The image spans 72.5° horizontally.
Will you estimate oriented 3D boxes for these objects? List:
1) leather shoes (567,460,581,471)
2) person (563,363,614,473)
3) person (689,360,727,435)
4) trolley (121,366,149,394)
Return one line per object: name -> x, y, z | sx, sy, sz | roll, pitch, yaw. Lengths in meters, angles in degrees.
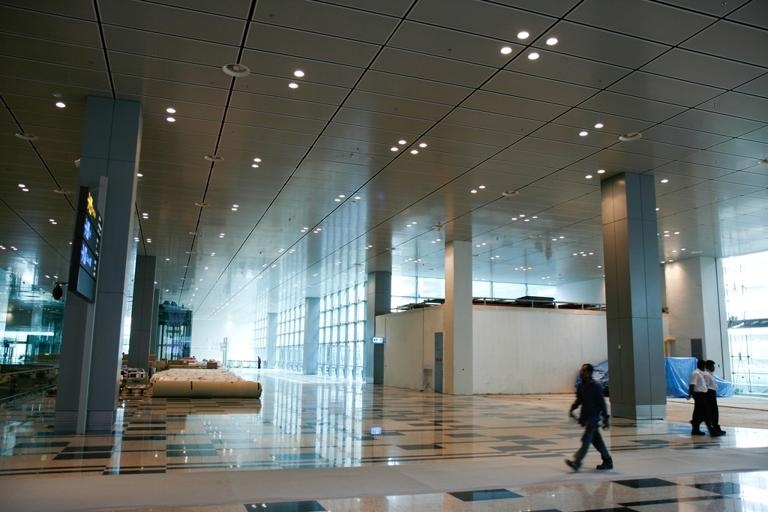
leather shoes -> 3.494, 3.871, 9.658 | 0.220, 0.192, 0.366 | -3, -13, 19
person -> 3.951, 3.082, 10.083 | 0.742, 1.931, 1.394 | -4, -14, 22
person -> 8.453, 3.718, 13.794 | 0.723, 1.915, 0.756 | -6, -16, 30
trolley -> -10.320, 5.222, 21.667 | 1.175, 0.867, 1.711 | 3, -4, -23
